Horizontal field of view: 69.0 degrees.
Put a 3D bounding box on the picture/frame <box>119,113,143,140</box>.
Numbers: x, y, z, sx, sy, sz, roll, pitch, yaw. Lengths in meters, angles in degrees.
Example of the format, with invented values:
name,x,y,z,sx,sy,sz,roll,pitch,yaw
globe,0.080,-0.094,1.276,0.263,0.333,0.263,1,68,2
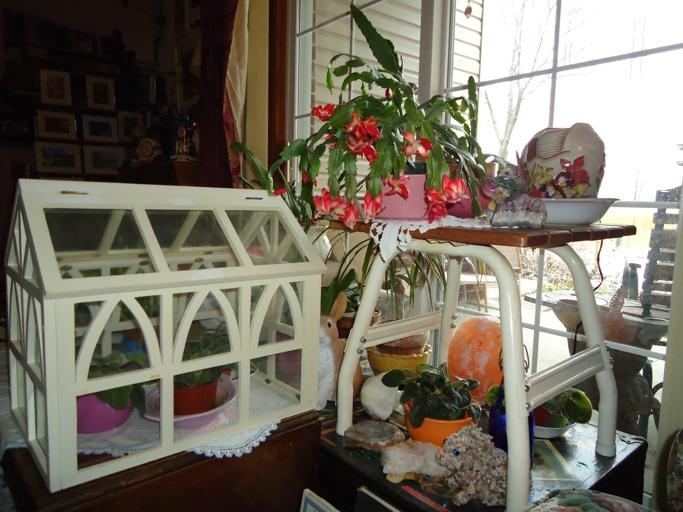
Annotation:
name,x,y,z,sx,sy,sz,roll,pitch,yaw
picture/frame,-1.448,-0.895,3.384,0.028,0.222,0.185,8,7,44

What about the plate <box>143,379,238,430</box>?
name,x,y,z,sx,sy,sz,roll,pitch,yaw
plate,-0.393,0.412,1.329,0.148,0.053,0.154,-1,-3,22

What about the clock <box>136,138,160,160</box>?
name,x,y,z,sx,sy,sz,roll,pitch,yaw
clock,-1.336,-0.741,3.404,0.120,0.169,0.086,12,8,25

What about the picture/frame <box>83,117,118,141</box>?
name,x,y,z,sx,sy,sz,roll,pitch,yaw
picture/frame,-1.604,-0.853,3.275,0.158,0.127,0.005,-9,12,-43

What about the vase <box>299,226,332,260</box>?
name,x,y,z,sx,sy,sz,roll,pitch,yaw
vase,-0.104,-0.055,2.100,0.098,0.139,0.076,4,35,22

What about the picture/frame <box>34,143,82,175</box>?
name,x,y,z,sx,sy,sz,roll,pitch,yaw
picture/frame,-1.827,-0.631,3.165,0.202,0.155,0.007,-5,9,-40

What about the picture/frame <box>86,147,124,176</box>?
name,x,y,z,sx,sy,sz,roll,pitch,yaw
picture/frame,-1.598,-0.646,3.325,0.007,0.139,0.184,12,16,39

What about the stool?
name,x,y,z,sx,sy,sz,roll,pitch,yaw
stool,0.394,0.120,1.633,0.730,0.853,0.828,-5,13,-28

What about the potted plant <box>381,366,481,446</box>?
name,x,y,z,sx,sy,sz,roll,pitch,yaw
potted plant,0.266,0.412,1.545,0.245,0.190,0.248,1,4,21

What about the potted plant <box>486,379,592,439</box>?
name,x,y,z,sx,sy,sz,roll,pitch,yaw
potted plant,0.673,0.476,1.620,0.254,0.108,0.264,1,-7,-14

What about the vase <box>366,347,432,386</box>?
name,x,y,z,sx,sy,sz,roll,pitch,yaw
vase,0.205,0.384,1.851,0.138,0.102,0.142,0,5,-27

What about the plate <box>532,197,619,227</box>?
name,x,y,z,sx,sy,sz,roll,pitch,yaw
plate,0.650,-0.121,1.362,0.182,0.077,0.088,1,8,16

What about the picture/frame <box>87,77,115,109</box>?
name,x,y,z,sx,sy,sz,roll,pitch,yaw
picture/frame,-1.582,-1.079,3.240,0.212,0.236,0.017,0,4,-43

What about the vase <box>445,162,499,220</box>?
name,x,y,z,sx,sy,sz,roll,pitch,yaw
vase,0.390,-0.200,1.489,0.151,0.182,0.154,2,15,0

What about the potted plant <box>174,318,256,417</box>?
name,x,y,z,sx,sy,sz,roll,pitch,yaw
potted plant,-0.341,0.307,1.390,0.194,0.221,0.215,1,2,-7
